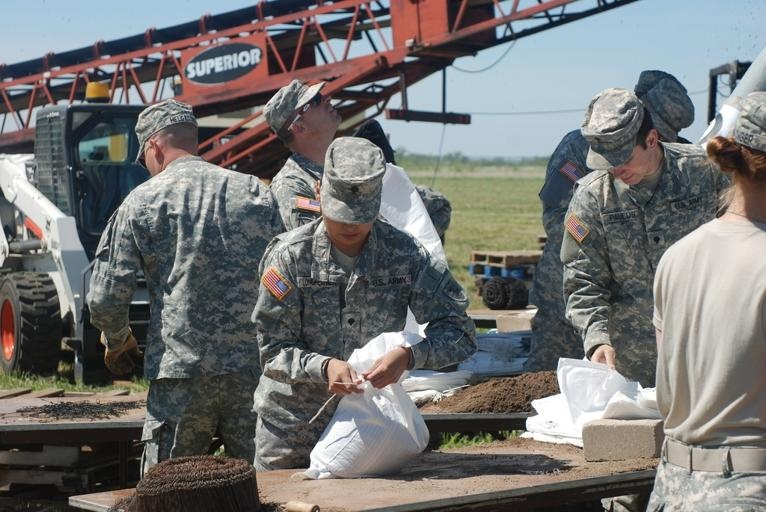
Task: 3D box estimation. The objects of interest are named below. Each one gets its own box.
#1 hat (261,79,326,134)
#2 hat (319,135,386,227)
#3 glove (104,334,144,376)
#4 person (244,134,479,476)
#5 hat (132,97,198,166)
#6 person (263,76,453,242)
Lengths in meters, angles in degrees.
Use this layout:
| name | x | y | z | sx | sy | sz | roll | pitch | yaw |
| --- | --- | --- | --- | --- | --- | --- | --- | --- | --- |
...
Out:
| name | x | y | z | sx | sy | sz | roll | pitch | yaw |
| --- | --- | --- | --- | --- | --- | --- | --- | --- | --- |
| hat | -0.642 | -1.146 | 11.883 | 0.490 | 0.179 | 0.330 | -38 | 16 | 8 |
| hat | -0.177 | -0.537 | 10.428 | 0.463 | 0.672 | 0.221 | 2 | -37 | -3 |
| glove | -1.903 | 0.804 | 11.303 | 0.363 | 0.312 | 0.119 | -19 | -18 | 27 |
| person | -0.188 | 0.355 | 10.492 | 1.411 | 2.296 | 0.509 | -1 | 9 | -5 |
| hat | -1.599 | -0.979 | 11.507 | 0.460 | 0.294 | 0.641 | -11 | -8 | -35 |
| person | -0.377 | -0.745 | 12.472 | 1.041 | 0.855 | 1.812 | -2 | -7 | 1 |
